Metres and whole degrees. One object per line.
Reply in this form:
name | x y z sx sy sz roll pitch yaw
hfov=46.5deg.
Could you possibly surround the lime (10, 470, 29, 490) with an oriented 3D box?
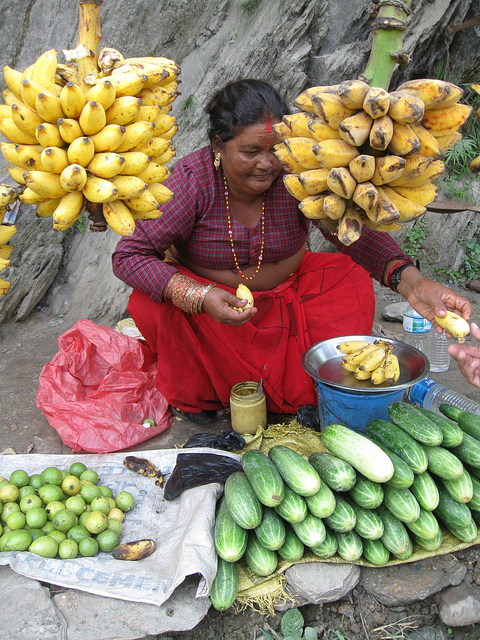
lime | -0.994 0.715 2.507 0.077 0.080 0.068 19 41 7

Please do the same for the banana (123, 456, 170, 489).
banana | -0.450 0.730 2.703 0.199 0.087 0.064 27 18 19

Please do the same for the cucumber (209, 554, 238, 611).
cucumber | -0.052 0.954 2.058 0.120 0.082 0.233 -1 31 9

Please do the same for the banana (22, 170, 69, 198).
banana | -0.588 -0.410 1.735 0.067 0.044 0.179 -21 -13 17

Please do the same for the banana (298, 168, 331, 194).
banana | 0.232 -0.442 1.770 0.062 0.057 0.103 5 -8 -11

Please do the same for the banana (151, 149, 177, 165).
banana | -0.272 -0.583 2.001 0.048 0.028 0.133 14 26 31

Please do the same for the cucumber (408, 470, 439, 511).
cucumber | 0.696 0.654 2.132 0.087 0.060 0.155 -8 25 2

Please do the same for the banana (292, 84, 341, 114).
banana | 0.224 -0.701 1.771 0.161 0.048 0.080 13 47 33

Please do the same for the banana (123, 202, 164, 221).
banana | -0.340 -0.377 1.972 0.142 0.036 0.041 6 65 29

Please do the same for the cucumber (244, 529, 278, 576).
cucumber | 0.077 0.881 2.127 0.100 0.071 0.190 -3 23 -8

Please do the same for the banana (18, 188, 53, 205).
banana | -0.657 -0.388 1.768 0.048 0.046 0.151 28 18 13

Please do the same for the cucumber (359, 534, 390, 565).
cucumber | 0.501 0.867 2.103 0.073 0.051 0.135 6 -1 -10

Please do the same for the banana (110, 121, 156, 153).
banana | -0.358 -0.558 1.798 0.065 0.056 0.203 -39 8 -33

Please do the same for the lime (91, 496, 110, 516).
lime | -0.590 0.786 2.352 0.085 0.080 0.072 -4 -21 -6

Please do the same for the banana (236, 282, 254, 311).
banana | 0.017 -0.116 2.807 0.099 0.063 0.180 -18 39 -4

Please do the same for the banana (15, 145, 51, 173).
banana | -0.620 -0.489 1.680 0.131 0.035 0.067 20 10 32

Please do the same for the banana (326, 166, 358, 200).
banana | 0.312 -0.413 1.716 0.072 0.106 0.046 -40 49 -3

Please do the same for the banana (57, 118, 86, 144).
banana | -0.507 -0.566 1.660 0.054 0.068 0.044 -20 10 11

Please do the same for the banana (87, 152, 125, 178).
banana | -0.406 -0.470 1.688 0.125 0.064 0.058 -9 15 31

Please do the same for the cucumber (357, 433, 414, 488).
cucumber | 0.585 0.548 2.196 0.131 0.117 0.264 -14 33 -11

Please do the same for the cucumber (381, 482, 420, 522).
cucumber | 0.605 0.693 2.150 0.098 0.067 0.183 -5 13 -13

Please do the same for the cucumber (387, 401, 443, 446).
cucumber | 0.719 0.431 2.325 0.109 0.096 0.301 -20 22 -15

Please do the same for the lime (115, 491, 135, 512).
lime | -0.508 0.800 2.453 0.080 0.067 0.086 4 34 -23

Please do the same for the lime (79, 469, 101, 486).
lime | -0.695 0.722 2.600 0.079 0.082 0.074 5 21 -42

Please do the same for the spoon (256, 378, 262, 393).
spoon | 0.099 0.355 2.987 0.016 0.087 0.011 23 -5 30

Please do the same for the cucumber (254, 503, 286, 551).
cucumber | 0.117 0.794 2.137 0.121 0.087 0.223 -12 15 -5

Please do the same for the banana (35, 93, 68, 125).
banana | -0.557 -0.615 1.626 0.036 0.043 0.122 -20 -4 8

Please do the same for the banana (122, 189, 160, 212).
banana | -0.333 -0.390 1.857 0.145 0.038 0.067 1 6 9

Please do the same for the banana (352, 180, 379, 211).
banana | 0.378 -0.376 1.679 0.065 0.036 0.092 -20 15 13

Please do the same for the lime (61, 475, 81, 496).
lime | -0.759 0.745 2.494 0.053 0.055 0.063 -49 9 13

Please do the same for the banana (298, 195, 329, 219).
banana | 0.230 -0.384 1.855 0.109 0.055 0.056 -1 7 -8

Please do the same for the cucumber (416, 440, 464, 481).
cucumber | 0.820 0.559 2.214 0.109 0.094 0.237 -45 11 2

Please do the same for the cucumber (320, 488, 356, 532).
cucumber | 0.380 0.737 2.119 0.080 0.057 0.148 -4 11 -7

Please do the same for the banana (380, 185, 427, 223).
banana | 0.528 -0.385 1.821 0.187 0.048 0.064 39 23 24

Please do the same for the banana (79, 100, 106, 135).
banana | -0.443 -0.600 1.658 0.062 0.087 0.052 32 33 -7

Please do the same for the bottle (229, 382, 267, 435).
bottle | 0.043 0.486 3.014 0.187 0.268 0.279 -5 34 2

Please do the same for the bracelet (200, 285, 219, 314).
bracelet | -0.169 -0.105 2.727 0.038 0.120 0.132 24 -7 10

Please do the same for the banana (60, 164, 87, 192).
banana | -0.489 -0.417 1.637 0.070 0.059 0.085 -3 0 -9

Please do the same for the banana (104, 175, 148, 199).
banana | -0.354 -0.420 1.760 0.053 0.047 0.163 -21 11 -26

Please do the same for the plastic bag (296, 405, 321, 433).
plastic bag | 0.376 0.545 3.079 0.109 0.043 0.125 -1 50 0

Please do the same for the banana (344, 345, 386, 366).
banana | 0.608 0.163 2.629 0.235 0.069 0.061 -22 -8 -34

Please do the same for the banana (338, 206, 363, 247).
banana | 0.356 -0.300 1.786 0.061 0.083 0.136 -1 46 31

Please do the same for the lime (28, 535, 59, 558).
lime | -0.752 0.877 2.150 0.105 0.064 0.073 7 -8 -28

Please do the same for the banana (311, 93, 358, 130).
banana | 0.284 -0.623 1.658 0.096 0.142 0.049 -44 -1 -41

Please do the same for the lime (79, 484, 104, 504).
lime | -0.645 0.767 2.422 0.102 0.063 0.068 4 -19 -21

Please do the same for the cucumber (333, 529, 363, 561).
cucumber | 0.408 0.844 2.091 0.071 0.052 0.133 0 7 -3

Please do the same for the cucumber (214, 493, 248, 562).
cucumber | -0.041 0.802 2.123 0.078 0.072 0.213 -26 26 13

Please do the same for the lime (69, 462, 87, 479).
lime | -0.769 0.723 2.675 0.069 0.059 0.072 7 3 41

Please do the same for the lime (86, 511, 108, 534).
lime | -0.582 0.819 2.280 0.094 0.076 0.103 -18 -22 22

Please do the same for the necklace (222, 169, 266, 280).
necklace | 0.040 -0.504 3.029 0.207 0.589 0.178 -5 37 4

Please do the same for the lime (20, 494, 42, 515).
lime | -0.876 0.774 2.356 0.080 0.082 0.069 -7 49 -3

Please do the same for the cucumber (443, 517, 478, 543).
cucumber | 0.847 0.810 2.164 0.040 0.067 0.113 1 24 -46

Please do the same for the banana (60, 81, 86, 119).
banana | -0.489 -0.639 1.643 0.066 0.101 0.071 2 8 -5
